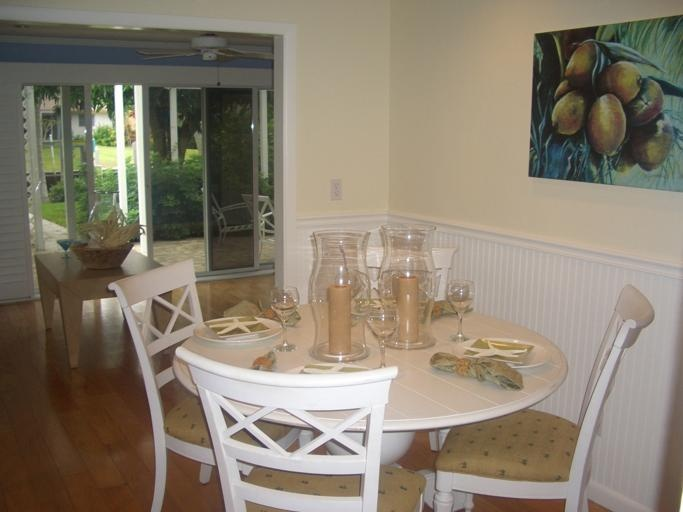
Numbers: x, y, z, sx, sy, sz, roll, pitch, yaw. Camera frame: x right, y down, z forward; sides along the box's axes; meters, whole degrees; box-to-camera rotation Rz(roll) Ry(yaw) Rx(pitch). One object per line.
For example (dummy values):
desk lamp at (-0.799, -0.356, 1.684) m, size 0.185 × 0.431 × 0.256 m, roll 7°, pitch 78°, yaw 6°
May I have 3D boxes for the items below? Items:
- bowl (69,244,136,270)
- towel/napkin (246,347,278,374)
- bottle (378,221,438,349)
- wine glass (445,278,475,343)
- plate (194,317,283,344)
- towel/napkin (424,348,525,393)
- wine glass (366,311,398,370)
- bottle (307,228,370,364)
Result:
bowl at (-1.975, -0.010, 4.347) m, size 0.504 × 0.223 × 0.386 m, roll -4°, pitch 13°, yaw -37°
towel/napkin at (-0.283, 0.374, 1.885) m, size 0.090 × 0.048 × 0.118 m, roll -1°, pitch 8°, yaw -7°
bottle at (0.283, 0.121, 2.273) m, size 0.314 × 0.583 × 0.277 m, roll 2°, pitch 9°, yaw 10°
wine glass at (0.505, 0.241, 2.257) m, size 0.163 × 0.352 × 0.163 m, roll -1°, pitch 16°, yaw 6°
plate at (-0.431, 0.269, 2.230) m, size 0.293 × 0.086 × 0.302 m, roll 2°, pitch 12°, yaw -19°
towel/napkin at (0.486, 0.405, 1.892) m, size 0.330 × 0.070 × 0.093 m, roll 7°, pitch 15°, yaw 29°
wine glass at (0.153, 0.295, 1.859) m, size 0.076 × 0.224 × 0.098 m, roll -2°, pitch 15°, yaw -21°
bottle at (0.010, 0.166, 2.136) m, size 0.265 × 0.557 × 0.261 m, roll 0°, pitch 9°, yaw 0°
